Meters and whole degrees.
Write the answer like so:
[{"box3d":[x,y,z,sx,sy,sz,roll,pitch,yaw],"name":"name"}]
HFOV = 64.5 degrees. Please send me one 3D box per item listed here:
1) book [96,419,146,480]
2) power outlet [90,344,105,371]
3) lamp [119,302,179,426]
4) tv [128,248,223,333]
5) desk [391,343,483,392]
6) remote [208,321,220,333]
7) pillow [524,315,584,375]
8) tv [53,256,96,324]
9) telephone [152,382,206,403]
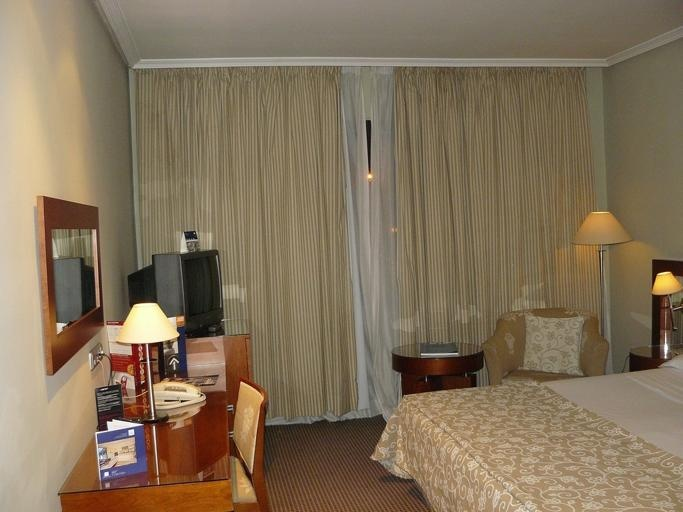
[{"box3d":[-1.057,0.929,2.675,0.257,0.311,0.204,-2,2,-22],"name":"book"},{"box3d":[-1.517,0.627,3.352,0.055,0.065,0.189,1,0,-7],"name":"power outlet"},{"box3d":[-1.130,0.638,3.183,0.339,0.700,0.346,-4,6,-11],"name":"lamp"},{"box3d":[-1.332,0.258,4.609,0.665,0.745,0.709,1,2,3],"name":"tv"},{"box3d":[0.847,1.023,4.853,0.541,0.360,0.559,-1,-2,-11],"name":"desk"},{"box3d":[-1.096,0.608,4.673,0.071,0.069,0.077,-1,0,13],"name":"remote"},{"box3d":[1.965,0.839,5.005,0.428,0.458,0.157,3,-19,23],"name":"pillow"},{"box3d":[-1.471,0.186,2.967,0.168,0.337,0.339,0,9,-7],"name":"tv"},{"box3d":[-1.017,0.843,3.348,0.218,0.069,0.165,2,-8,-1],"name":"telephone"}]
